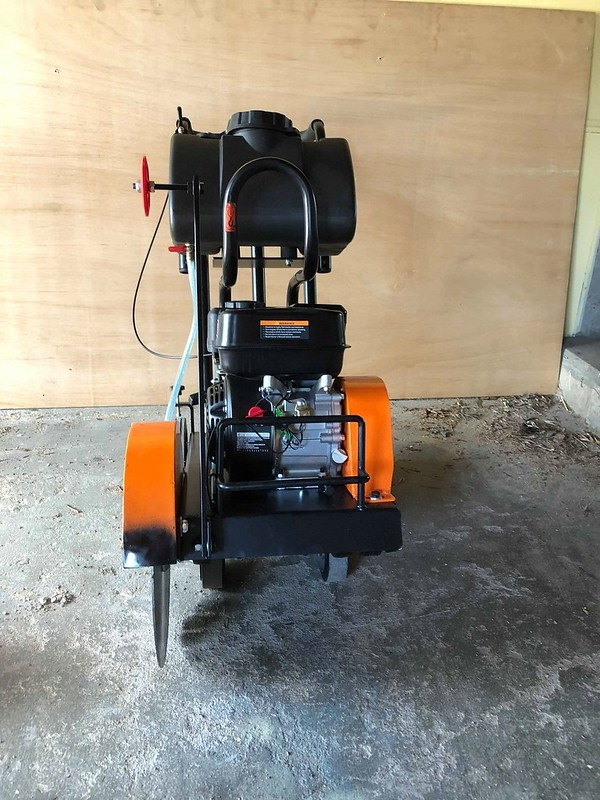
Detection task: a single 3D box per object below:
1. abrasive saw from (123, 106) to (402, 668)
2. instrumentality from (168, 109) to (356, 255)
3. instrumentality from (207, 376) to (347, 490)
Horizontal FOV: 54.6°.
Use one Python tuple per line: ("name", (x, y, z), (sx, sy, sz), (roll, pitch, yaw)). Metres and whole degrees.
("abrasive saw", (-0.100, -0.102, 1.595), (0.737, 1.349, 0.884), (-3, 15, -14))
("instrumentality", (-0.134, -0.647, 1.815), (0.539, 0.449, 0.439), (-3, 15, -14))
("instrumentality", (-0.058, 0.094, 1.409), (0.316, 0.326, 0.230), (1, -14, -9))
